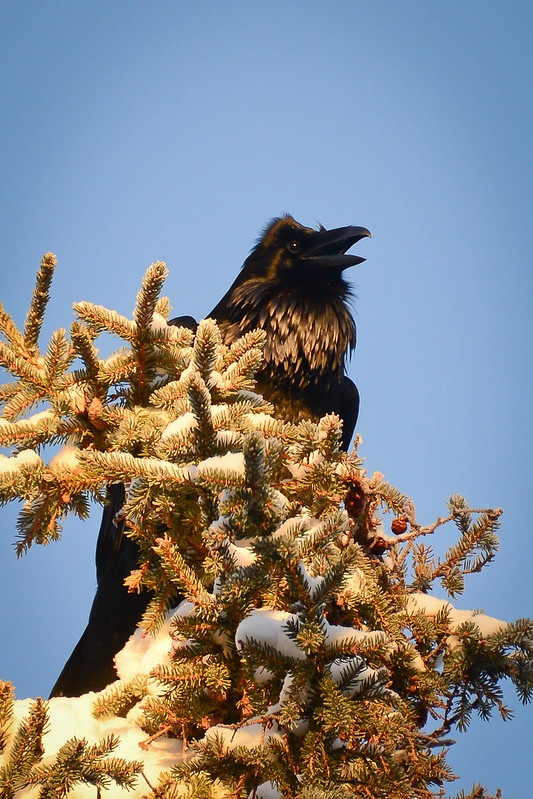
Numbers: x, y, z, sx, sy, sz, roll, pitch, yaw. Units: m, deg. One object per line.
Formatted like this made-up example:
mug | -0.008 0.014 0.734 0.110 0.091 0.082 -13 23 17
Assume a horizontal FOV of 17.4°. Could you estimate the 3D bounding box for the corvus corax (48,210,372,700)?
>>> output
corvus corax | -0.247 0.261 6.898 1.681 1.860 0.768 -9 -13 37
